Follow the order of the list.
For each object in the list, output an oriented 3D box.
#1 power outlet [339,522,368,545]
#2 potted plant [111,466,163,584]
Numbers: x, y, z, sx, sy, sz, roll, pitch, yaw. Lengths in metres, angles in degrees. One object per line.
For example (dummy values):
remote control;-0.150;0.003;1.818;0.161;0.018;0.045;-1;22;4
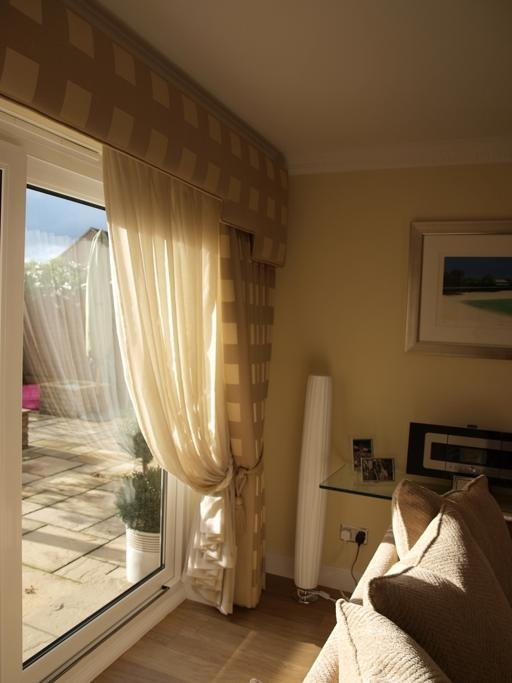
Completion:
power outlet;0.531;1.067;2.580;0.125;0.091;0.044;4;2;25
potted plant;-0.540;0.866;2.216;0.216;0.514;0.222;-1;-23;7
